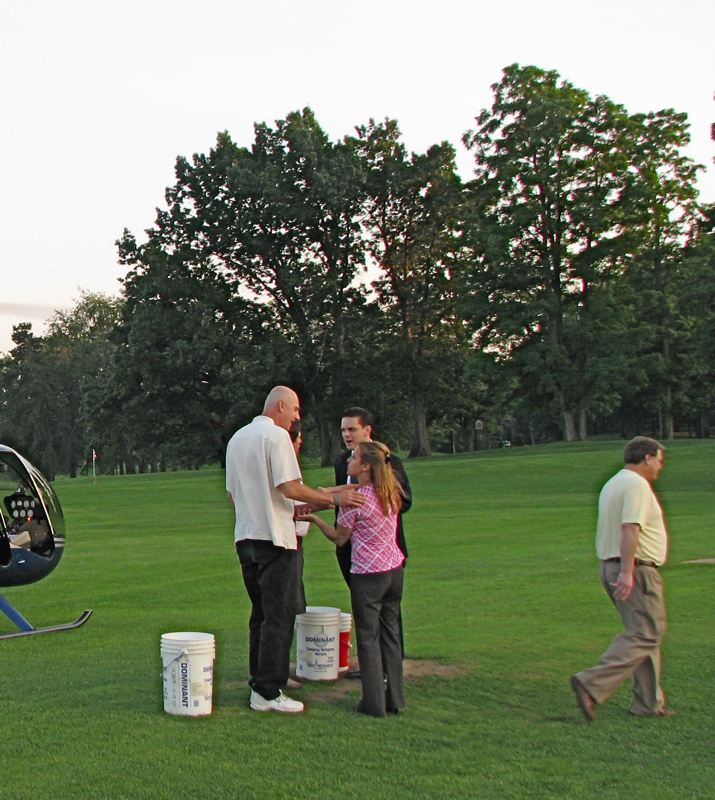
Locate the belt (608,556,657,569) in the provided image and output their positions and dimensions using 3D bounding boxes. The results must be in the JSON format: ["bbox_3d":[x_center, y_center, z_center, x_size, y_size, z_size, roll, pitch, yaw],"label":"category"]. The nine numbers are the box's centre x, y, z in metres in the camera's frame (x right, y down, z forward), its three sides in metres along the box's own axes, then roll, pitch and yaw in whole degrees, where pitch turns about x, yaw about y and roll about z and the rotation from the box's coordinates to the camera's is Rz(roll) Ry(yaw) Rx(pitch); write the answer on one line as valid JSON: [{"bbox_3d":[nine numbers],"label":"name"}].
[{"bbox_3d":[1.928,1.141,6.712,0.183,0.060,0.138,-2,-2,-4],"label":"belt"}]

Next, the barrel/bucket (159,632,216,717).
[{"bbox_3d":[-1.143,1.865,6.492,0.395,0.550,0.300,-3,-3,3],"label":"barrel/bucket"}]

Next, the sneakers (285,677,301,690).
[{"bbox_3d":[-0.474,2.164,7.353,0.167,0.093,0.051,0,4,-11],"label":"sneakers"}]

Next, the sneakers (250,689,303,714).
[{"bbox_3d":[-0.552,2.074,6.633,0.396,0.145,0.127,2,0,2],"label":"sneakers"}]

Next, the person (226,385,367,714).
[{"bbox_3d":[-0.513,1.036,6.718,0.703,2.244,0.494,-5,-3,39],"label":"person"}]

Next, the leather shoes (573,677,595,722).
[{"bbox_3d":[1.538,2.012,6.509,0.146,0.299,0.131,-5,-3,38],"label":"leather shoes"}]

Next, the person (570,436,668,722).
[{"bbox_3d":[1.861,1.234,6.763,0.626,1.923,0.772,-4,-3,21],"label":"person"}]
